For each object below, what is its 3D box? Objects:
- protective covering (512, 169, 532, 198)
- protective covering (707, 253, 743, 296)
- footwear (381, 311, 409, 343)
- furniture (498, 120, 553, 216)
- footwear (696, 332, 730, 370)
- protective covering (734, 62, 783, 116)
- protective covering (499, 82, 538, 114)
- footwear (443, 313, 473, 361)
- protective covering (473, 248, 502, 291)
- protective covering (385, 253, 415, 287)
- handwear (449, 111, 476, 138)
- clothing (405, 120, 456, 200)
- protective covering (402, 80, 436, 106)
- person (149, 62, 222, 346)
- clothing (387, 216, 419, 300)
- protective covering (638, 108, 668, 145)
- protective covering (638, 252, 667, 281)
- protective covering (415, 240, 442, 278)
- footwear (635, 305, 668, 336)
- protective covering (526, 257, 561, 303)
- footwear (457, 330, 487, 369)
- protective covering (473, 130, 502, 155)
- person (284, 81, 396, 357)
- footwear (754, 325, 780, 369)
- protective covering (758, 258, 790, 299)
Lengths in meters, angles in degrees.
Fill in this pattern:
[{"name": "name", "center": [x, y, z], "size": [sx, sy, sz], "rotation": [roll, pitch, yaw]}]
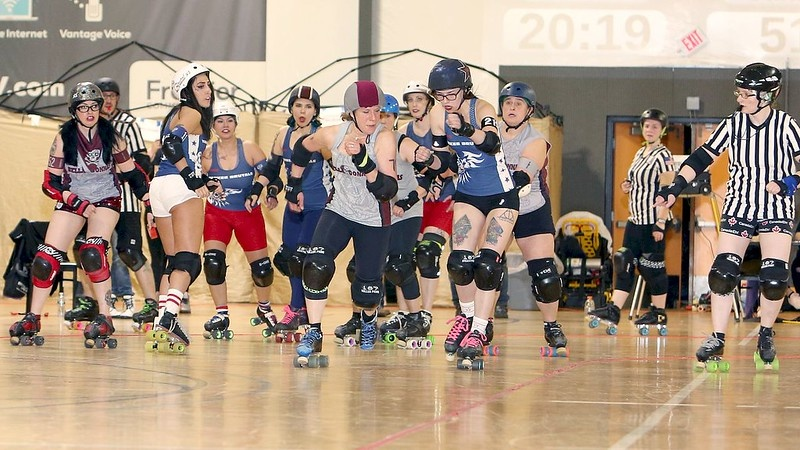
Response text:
[{"name": "protective covering", "center": [1.363, -0.473, 9.299], "size": [0.186, 0.219, 0.216], "rotation": [1, 0, 37]}, {"name": "protective covering", "center": [3.614, 0.542, 9.321], "size": [0.343, 0.484, 0.277], "rotation": [11, -23, 15]}, {"name": "footwear", "center": [-0.033, 1.303, 10.984], "size": [0.539, 0.370, 0.185], "rotation": [2, 11, -33]}, {"name": "furniture", "center": [1.277, -0.626, 9.721], "size": [0.551, 0.765, 0.987], "rotation": [7, -36, 34]}, {"name": "footwear", "center": [3.513, 1.414, 9.430], "size": [0.220, 0.402, 0.703], "rotation": [8, 2, 43]}, {"name": "protective covering", "center": [4.016, -1.561, 9.414], "size": [0.534, 0.516, 0.436], "rotation": [-8, 16, -10]}, {"name": "protective covering", "center": [1.417, -1.436, 9.719], "size": [0.384, 0.374, 0.475], "rotation": [1, 21, 20]}, {"name": "footwear", "center": [0.621, 1.263, 9.476], "size": [0.221, 0.617, 0.273], "rotation": [8, -32, 26]}, {"name": "protective covering", "center": [0.995, 0.518, 9.444], "size": [0.321, 0.432, 0.447], "rotation": [7, 5, 36]}, {"name": "protective covering", "center": [0.003, 0.544, 10.347], "size": [0.304, 0.381, 0.401], "rotation": [1, 3, 12]}, {"name": "handwear", "center": [0.683, -1.077, 8.981], "size": [0.271, 0.124, 0.197], "rotation": [34, 2, -14]}, {"name": "clothing", "center": [0.384, -0.862, 10.906], "size": [0.748, 0.992, 0.339], "rotation": [27, -17, -36]}, {"name": "protective covering", "center": [0.220, -1.658, 10.382], "size": [0.253, 0.301, 0.322], "rotation": [-6, -7, 11]}, {"name": "person", "center": [-2.600, -0.225, 10.004], "size": [0.725, 3.227, 0.768], "rotation": [2, -1, -22]}, {"name": "clothing", "center": [0.124, 0.495, 10.891], "size": [0.389, 0.423, 1.128], "rotation": [-38, 14, 23]}, {"name": "protective covering", "center": [3.723, -1.428, 12.285], "size": [0.418, 0.566, 0.570], "rotation": [1, -14, 12]}, {"name": "protective covering", "center": [3.617, 0.591, 11.997], "size": [0.412, 0.415, 0.313], "rotation": [-4, 1, 17]}, {"name": "protective covering", "center": [0.347, 0.499, 10.693], "size": [0.342, 0.491, 0.359], "rotation": [1, 13, -7]}, {"name": "footwear", "center": [3.688, 1.363, 12.071], "size": [0.409, 0.395, 0.269], "rotation": [-5, -3, 35]}, {"name": "protective covering", "center": [1.730, 0.600, 10.028], "size": [0.415, 0.541, 0.548], "rotation": [-9, 39, 8]}, {"name": "footwear", "center": [0.778, 1.379, 9.217], "size": [0.286, 0.333, 0.339], "rotation": [2, 0, 3]}, {"name": "protective covering", "center": [0.941, -0.908, 8.979], "size": [0.215, 0.154, 0.264], "rotation": [0, 1, 20]}, {"name": "person", "center": [-0.628, -0.001, 9.233], "size": [1.117, 2.682, 0.863], "rotation": [2, -1, -6]}, {"name": "footwear", "center": [4.199, 1.386, 9.589], "size": [0.231, 0.417, 0.640], "rotation": [-1, 13, 21]}, {"name": "protective covering", "center": [4.280, 0.613, 9.469], "size": [0.331, 0.449, 0.417], "rotation": [1, -5, 8]}]
